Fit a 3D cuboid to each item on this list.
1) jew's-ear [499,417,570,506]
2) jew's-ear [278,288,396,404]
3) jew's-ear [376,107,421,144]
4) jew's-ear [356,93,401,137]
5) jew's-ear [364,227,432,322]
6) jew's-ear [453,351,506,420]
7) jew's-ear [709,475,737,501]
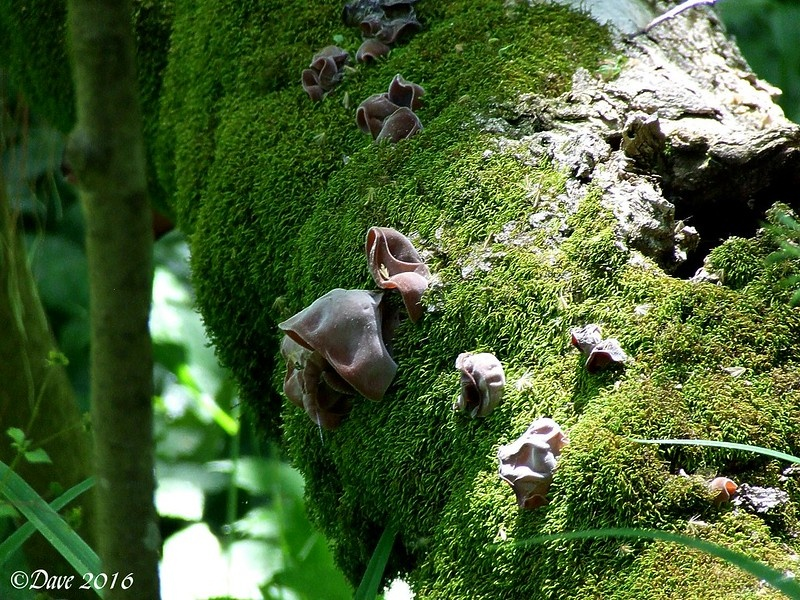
[{"bbox_3d":[0.286,0.346,2.328,0.118,0.157,0.221,42,39,-39],"label":"jew's-ear"},{"bbox_3d":[-0.157,0.124,2.526,0.245,0.082,0.252,49,53,-4],"label":"jew's-ear"},{"bbox_3d":[-0.003,-0.451,2.863,0.109,0.106,0.061,21,26,-2],"label":"jew's-ear"},{"bbox_3d":[-0.064,-0.504,2.950,0.102,0.061,0.124,-17,67,6],"label":"jew's-ear"},{"bbox_3d":[-0.011,-0.075,2.553,0.152,0.075,0.225,20,51,-30],"label":"jew's-ear"},{"bbox_3d":[0.181,0.177,2.454,0.116,0.134,0.145,19,76,-39],"label":"jew's-ear"},{"bbox_3d":[0.658,0.377,2.175,0.038,0.057,0.054,9,45,26],"label":"jew's-ear"}]
